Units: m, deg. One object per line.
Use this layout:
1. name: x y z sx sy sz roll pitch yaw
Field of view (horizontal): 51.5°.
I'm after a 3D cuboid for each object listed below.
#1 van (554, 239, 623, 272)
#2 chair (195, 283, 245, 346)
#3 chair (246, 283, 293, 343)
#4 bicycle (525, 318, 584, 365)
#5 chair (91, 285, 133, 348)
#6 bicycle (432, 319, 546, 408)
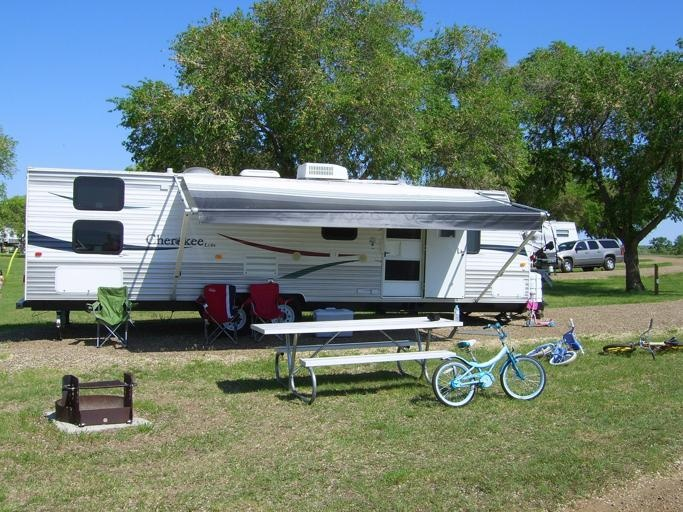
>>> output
1. van: 11.432 -0.023 33.018 3.261 1.314 1.454 2 -3 -20
2. chair: -2.307 1.100 13.509 0.940 1.096 0.724 -1 0 -16
3. chair: -1.375 1.014 13.329 0.839 0.894 0.675 -3 12 -20
4. bicycle: 3.609 1.469 11.797 1.039 0.626 0.462 8 6 -41
5. chair: -4.048 1.055 12.444 0.714 0.972 0.746 -1 5 -38
6. bicycle: 2.076 1.548 10.043 1.773 1.058 0.786 -1 -7 -19
